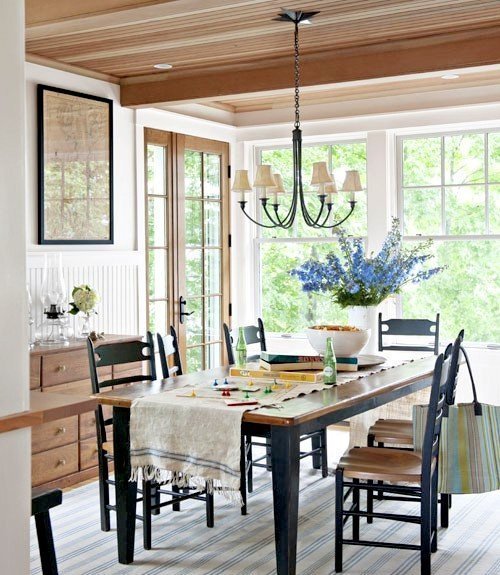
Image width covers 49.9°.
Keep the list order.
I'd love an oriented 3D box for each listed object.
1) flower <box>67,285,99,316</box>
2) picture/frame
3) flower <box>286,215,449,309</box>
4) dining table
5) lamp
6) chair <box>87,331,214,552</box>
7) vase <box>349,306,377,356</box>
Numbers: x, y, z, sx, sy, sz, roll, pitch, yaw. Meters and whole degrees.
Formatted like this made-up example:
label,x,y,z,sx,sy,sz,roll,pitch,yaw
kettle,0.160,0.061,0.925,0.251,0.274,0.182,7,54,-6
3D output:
label,x,y,z,sx,sy,sz,roll,pitch,yaw
flower,-1.219,0.089,3.960,0.217,0.222,0.237,6,-12,-13
picture/frame,-1.327,-0.918,4.100,0.067,1.227,0.715,-2,-4,33
flower,0.724,-0.079,3.640,0.696,0.427,0.792,-8,-2,9
dining table,0.094,0.870,2.681,1.097,0.842,1.373,-2,-3,35
lamp,0.293,-1.000,3.301,0.852,1.203,0.759,1,8,8
chair,-0.519,0.803,2.931,0.742,1.000,0.670,2,-1,-10
vase,0.750,0.265,3.611,0.224,0.323,0.212,-3,-18,16
